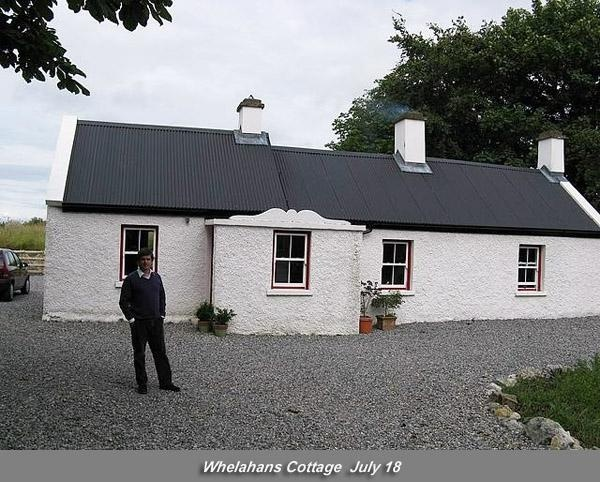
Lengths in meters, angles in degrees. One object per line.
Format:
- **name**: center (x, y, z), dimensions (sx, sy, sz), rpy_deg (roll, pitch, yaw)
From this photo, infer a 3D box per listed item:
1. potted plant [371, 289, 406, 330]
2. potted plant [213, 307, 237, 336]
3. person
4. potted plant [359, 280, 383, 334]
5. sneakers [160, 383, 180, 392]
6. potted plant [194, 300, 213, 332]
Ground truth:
- **potted plant**: center (2.440, 2.002, 14.908), dimensions (1.053, 1.371, 0.885), rpy_deg (1, -4, -15)
- **potted plant**: center (-1.910, 1.960, 12.802), dimensions (0.617, 0.783, 0.530), rpy_deg (3, -7, -19)
- **person**: center (-2.439, 1.258, 8.332), dimensions (0.897, 2.232, 0.732), rpy_deg (2, 2, -3)
- **potted plant**: center (1.963, 1.810, 14.472), dimensions (0.576, 1.352, 1.366), rpy_deg (2, 2, 9)
- **sneakers**: center (-2.074, 2.333, 8.329), dimensions (0.328, 0.157, 0.131), rpy_deg (1, 3, 6)
- **potted plant**: center (-2.384, 1.926, 13.126), dimensions (0.617, 0.856, 0.578), rpy_deg (1, -5, -9)
